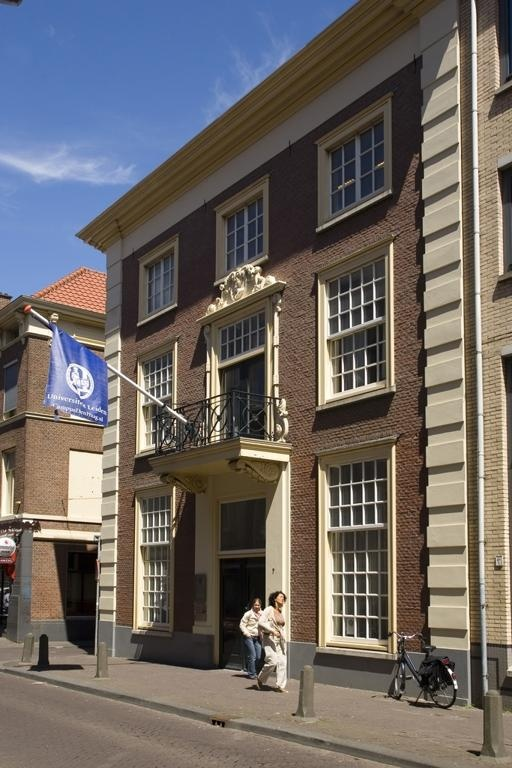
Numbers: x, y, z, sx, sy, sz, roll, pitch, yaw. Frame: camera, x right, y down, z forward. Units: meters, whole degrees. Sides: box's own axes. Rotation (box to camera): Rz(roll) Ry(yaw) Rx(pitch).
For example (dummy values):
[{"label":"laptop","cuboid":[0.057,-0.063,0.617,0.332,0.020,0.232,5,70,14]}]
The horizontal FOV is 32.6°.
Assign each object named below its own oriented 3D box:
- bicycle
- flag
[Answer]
[{"label":"bicycle","cuboid":[2.200,3.820,11.716,0.515,0.853,1.303,8,-12,-38]},{"label":"flag","cuboid":[-4.418,-0.154,20.847,0.318,2.542,2.841,-16,-32,23]}]
